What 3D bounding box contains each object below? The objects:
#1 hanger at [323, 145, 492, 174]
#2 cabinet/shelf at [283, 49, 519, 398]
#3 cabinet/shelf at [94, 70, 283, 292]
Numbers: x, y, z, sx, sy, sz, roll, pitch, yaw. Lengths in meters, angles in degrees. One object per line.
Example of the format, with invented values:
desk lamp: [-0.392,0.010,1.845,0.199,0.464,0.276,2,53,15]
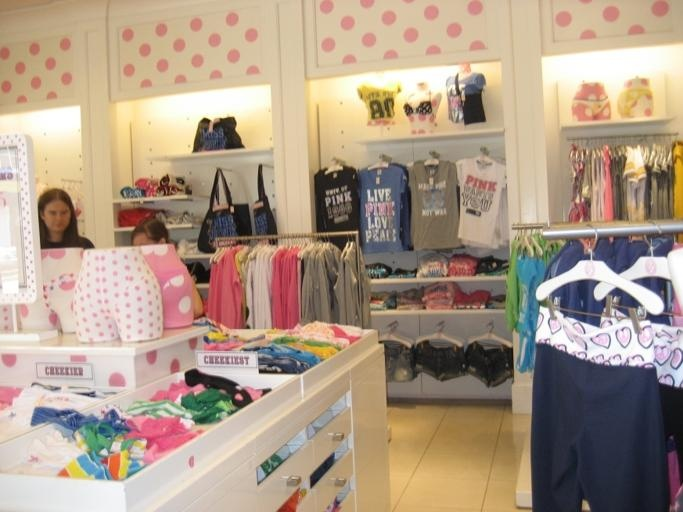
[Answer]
hanger: [0.543,-0.916,5.104,1.530,0.258,0.544,1,14,-1]
cabinet/shelf: [0.644,-0.239,5.219,1.963,3.132,0.769,5,13,15]
cabinet/shelf: [-1.286,-0.694,4.784,1.897,2.035,0.651,0,1,19]
